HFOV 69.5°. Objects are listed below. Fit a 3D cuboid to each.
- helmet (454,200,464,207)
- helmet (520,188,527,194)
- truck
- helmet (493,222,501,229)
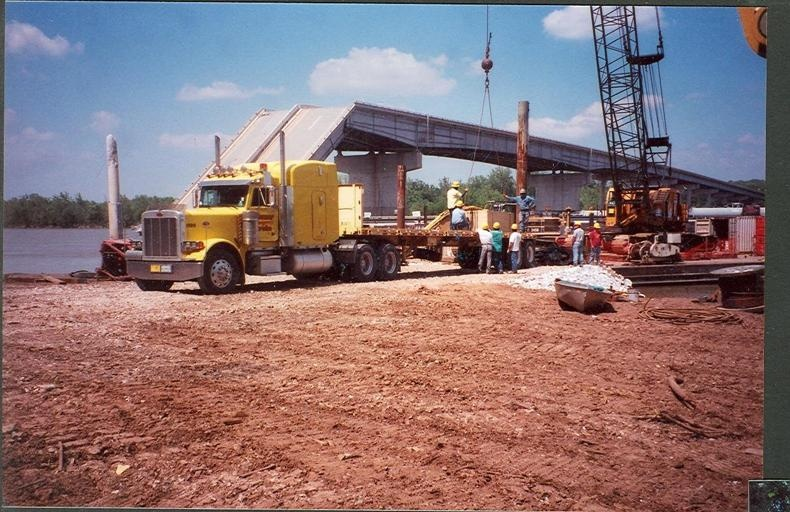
[{"bbox_3d":[2.663,-2.276,24.051,0.297,0.186,0.291,0,0,-20],"label":"helmet"},{"bbox_3d":[5.449,-2.823,24.264,0.224,0.116,0.184,12,22,21],"label":"helmet"},{"bbox_3d":[-2.829,-1.450,19.313,10.145,4.128,3.163,-6,10,-44],"label":"truck"},{"bbox_3d":[3.945,-1.238,22.519,0.341,0.155,0.351,-8,15,-30],"label":"helmet"}]
